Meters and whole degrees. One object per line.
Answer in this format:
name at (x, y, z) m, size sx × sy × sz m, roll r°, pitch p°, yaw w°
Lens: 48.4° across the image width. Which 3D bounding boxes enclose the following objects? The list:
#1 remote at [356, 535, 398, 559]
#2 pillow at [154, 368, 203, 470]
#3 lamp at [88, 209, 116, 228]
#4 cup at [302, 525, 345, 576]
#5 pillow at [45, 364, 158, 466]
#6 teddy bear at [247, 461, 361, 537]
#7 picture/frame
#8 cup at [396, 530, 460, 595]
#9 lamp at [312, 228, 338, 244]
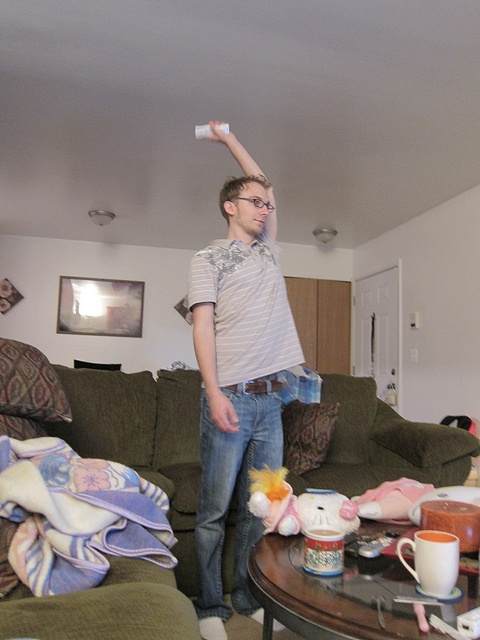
remote at (0.267, 0.444, 1.054) m, size 0.028 × 0.009 × 0.093 m, roll 1°, pitch -3°, yaw 29°
pillow at (-0.271, 0.436, 2.336) m, size 0.276 × 0.326 × 0.100 m, roll 6°, pitch -16°, yaw -29°
lamp at (-1.171, -0.887, 4.530) m, size 0.192 × 0.134 × 0.257 m, roll 2°, pitch -4°, yaw -10°
cup at (0.146, 0.402, 0.933) m, size 0.077 × 0.054 × 0.074 m, roll 1°, pitch -5°, yaw 0°
pillow at (-0.575, 0.419, 2.227) m, size 0.436 × 0.404 × 0.192 m, roll 5°, pitch -19°, yaw -43°
teddy bear at (0.136, 0.386, 1.139) m, size 0.211 × 0.106 × 0.132 m, roll 8°, pitch -22°, yaw -6°
picture/frame at (-1.497, -0.115, 5.596) m, size 0.750 × 0.496 × 0.024 m, roll 1°, pitch -3°, yaw -4°
cup at (0.309, 0.391, 0.866) m, size 0.076 × 0.085 × 0.105 m, roll 2°, pitch -4°, yaw -14°
lamp at (0.793, -0.787, 4.976) m, size 0.160 × 0.075 × 0.145 m, roll 0°, pitch -5°, yaw 2°
